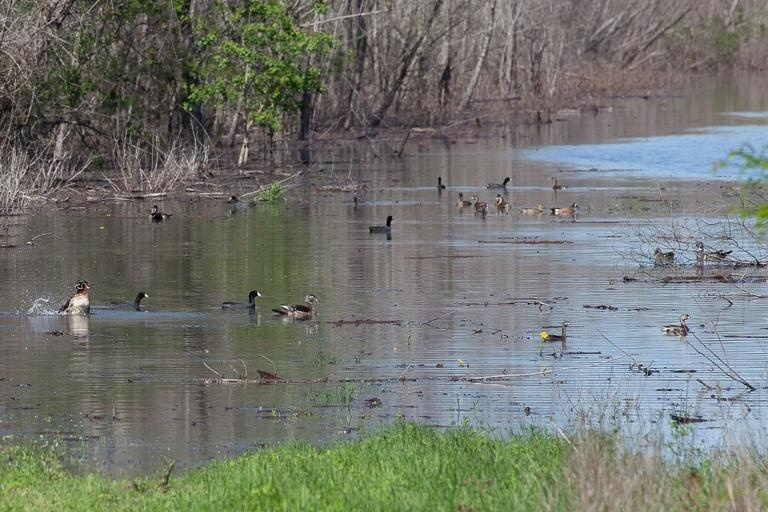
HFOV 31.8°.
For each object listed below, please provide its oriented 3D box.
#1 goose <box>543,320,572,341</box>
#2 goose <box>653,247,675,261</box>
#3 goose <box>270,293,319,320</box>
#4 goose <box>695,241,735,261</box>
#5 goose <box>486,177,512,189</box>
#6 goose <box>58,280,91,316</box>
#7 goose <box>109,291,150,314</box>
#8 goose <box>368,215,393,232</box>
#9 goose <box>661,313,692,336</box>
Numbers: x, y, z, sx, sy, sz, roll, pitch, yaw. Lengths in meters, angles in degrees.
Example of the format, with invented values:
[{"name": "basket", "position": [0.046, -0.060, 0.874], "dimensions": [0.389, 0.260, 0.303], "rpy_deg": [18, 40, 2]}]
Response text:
[{"name": "goose", "position": [4.088, 1.704, 32.256], "dimensions": [0.664, 0.481, 1.238], "rpy_deg": [1, 13, 8]}, {"name": "goose", "position": [8.622, -0.075, 41.155], "dimensions": [0.454, 0.299, 0.498], "rpy_deg": [-4, -1, 32]}, {"name": "goose", "position": [-2.263, 1.324, 34.675], "dimensions": [1.405, 0.829, 0.496], "rpy_deg": [-1, 19, -1]}, {"name": "goose", "position": [9.836, -0.153, 39.904], "dimensions": [1.265, 0.754, 0.428], "rpy_deg": [2, -27, 42]}, {"name": "goose", "position": [5.472, -3.481, 63.822], "dimensions": [1.165, 0.467, 0.699], "rpy_deg": [-9, -13, 4]}, {"name": "goose", "position": [-7.964, 1.038, 34.502], "dimensions": [0.836, 0.898, 0.387], "rpy_deg": [3, 14, 16]}, {"name": "goose", "position": [-6.744, 1.089, 35.218], "dimensions": [0.980, 0.470, 1.143], "rpy_deg": [-2, 13, -5]}, {"name": "goose", "position": [0.010, -1.134, 47.594], "dimensions": [0.830, 0.296, 0.578], "rpy_deg": [-10, 14, -44]}, {"name": "goose", "position": [7.103, 1.640, 32.521], "dimensions": [0.724, 0.463, 0.559], "rpy_deg": [-3, 13, -8]}]
